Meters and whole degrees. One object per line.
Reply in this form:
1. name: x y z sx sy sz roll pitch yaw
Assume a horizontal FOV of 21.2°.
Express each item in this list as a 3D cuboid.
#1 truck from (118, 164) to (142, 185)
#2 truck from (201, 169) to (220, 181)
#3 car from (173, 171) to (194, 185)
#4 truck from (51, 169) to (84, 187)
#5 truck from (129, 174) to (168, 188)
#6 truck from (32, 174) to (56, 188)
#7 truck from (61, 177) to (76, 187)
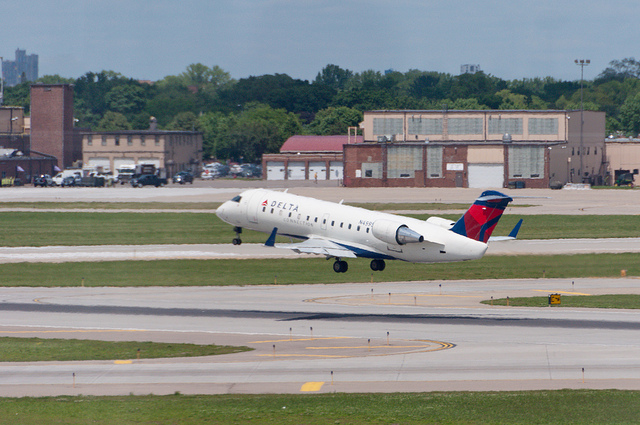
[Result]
1. truck: -37.737 -7.822 337.691 4.974 2.361 5.457 -1 -5 1
2. truck: -23.059 -8.043 359.174 4.321 1.894 5.671 -1 -2 -5
3. car: -27.072 -6.649 335.950 3.017 1.982 3.748 2 1 25
4. truck: -48.989 -6.962 328.896 6.975 2.395 3.210 0 2 -6
5. truck: -32.567 -6.029 323.004 5.852 2.401 3.598 1 1 -20
6. truck: -52.885 -6.149 327.096 2.847 1.786 4.464 0 -3 25
7. truck: -48.036 -5.947 325.149 2.190 1.450 1.212 0 2 -31
